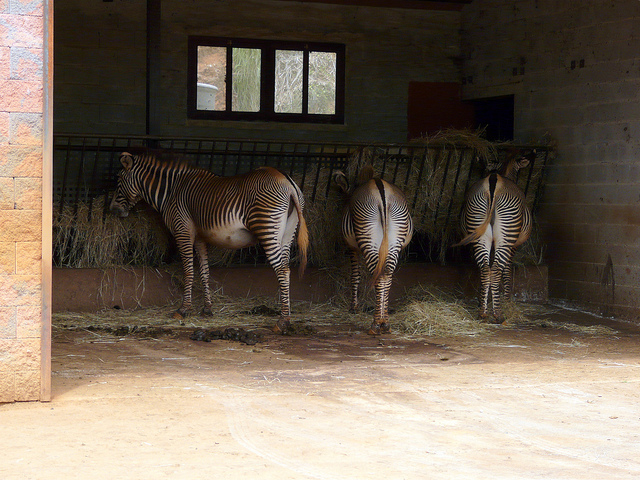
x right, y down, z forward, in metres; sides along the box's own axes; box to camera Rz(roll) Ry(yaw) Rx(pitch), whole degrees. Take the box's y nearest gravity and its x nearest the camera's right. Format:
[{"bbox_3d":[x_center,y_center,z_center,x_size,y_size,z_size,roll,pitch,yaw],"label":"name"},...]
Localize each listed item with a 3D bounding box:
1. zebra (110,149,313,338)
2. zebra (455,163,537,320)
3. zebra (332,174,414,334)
[{"bbox_3d":[-1.216,-0.067,9.282,2.887,1.646,0.784,5,0,35],"label":"zebra"},{"bbox_3d":[1.824,0.049,9.257,0.576,1.505,0.576,6,13,19],"label":"zebra"},{"bbox_3d":[0.581,0.021,9.532,0.986,1.694,2.608,4,1,-2],"label":"zebra"}]
